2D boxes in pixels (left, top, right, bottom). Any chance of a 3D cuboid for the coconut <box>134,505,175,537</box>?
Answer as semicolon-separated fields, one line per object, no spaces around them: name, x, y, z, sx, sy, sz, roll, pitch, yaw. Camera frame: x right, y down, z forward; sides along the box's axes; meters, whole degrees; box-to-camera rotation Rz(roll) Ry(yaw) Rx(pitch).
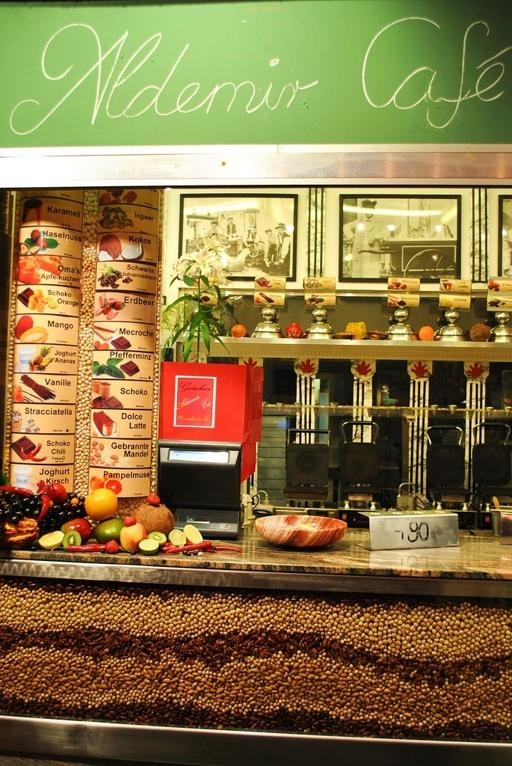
coconut;-0.348;0.468;2.373;0.125;0.091;0.095;2;-3;-13

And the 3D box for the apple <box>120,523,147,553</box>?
apple;-0.398;0.499;2.241;0.084;0.096;0.078;1;-9;-9

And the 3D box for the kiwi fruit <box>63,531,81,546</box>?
kiwi fruit;-0.599;0.506;2.272;0.050;0.048;0.021;-1;-9;5

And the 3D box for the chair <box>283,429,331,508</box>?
chair;0.359;0.576;5.036;0.331;0.484;0.294;2;7;5

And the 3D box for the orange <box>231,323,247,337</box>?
orange;-0.103;-0.359;4.845;0.112;0.099;0.107;-3;0;-26

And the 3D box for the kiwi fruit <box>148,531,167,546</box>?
kiwi fruit;-0.323;0.513;2.300;0.042;0.024;0.039;-4;40;-30

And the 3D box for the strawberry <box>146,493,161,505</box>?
strawberry;-0.355;0.411;2.429;0.046;0.016;0.044;30;14;-23

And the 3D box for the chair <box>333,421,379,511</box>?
chair;0.733;0.555;4.901;0.307;0.529;0.311;-1;1;-5

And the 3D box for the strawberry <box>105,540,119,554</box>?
strawberry;-0.456;0.520;2.213;0.031;0.038;0.022;-31;-10;-8

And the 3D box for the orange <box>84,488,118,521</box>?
orange;-0.517;0.417;2.416;0.110;0.102;0.109;2;-5;18

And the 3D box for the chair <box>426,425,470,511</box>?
chair;1.395;0.604;5.111;0.284;0.577;0.658;1;-3;14

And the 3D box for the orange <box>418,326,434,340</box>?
orange;1.190;-0.342;4.891;0.114;0.136;0.262;1;-3;14

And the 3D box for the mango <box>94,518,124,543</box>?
mango;-0.489;0.485;2.296;0.079;0.069;0.072;1;-14;-9

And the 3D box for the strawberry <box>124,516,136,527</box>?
strawberry;-0.422;0.457;2.329;0.030;0.029;0.030;-29;24;-23
